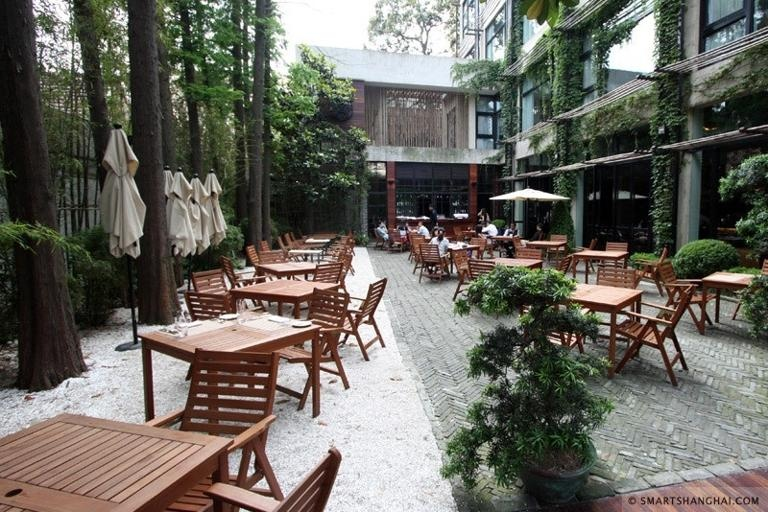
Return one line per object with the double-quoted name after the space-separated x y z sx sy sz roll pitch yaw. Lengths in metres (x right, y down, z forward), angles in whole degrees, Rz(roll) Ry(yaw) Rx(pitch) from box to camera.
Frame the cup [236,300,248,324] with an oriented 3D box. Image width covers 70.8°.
-2.513 0.975 9.479 0.215 0.421 0.225 1 7 0 "cup"
